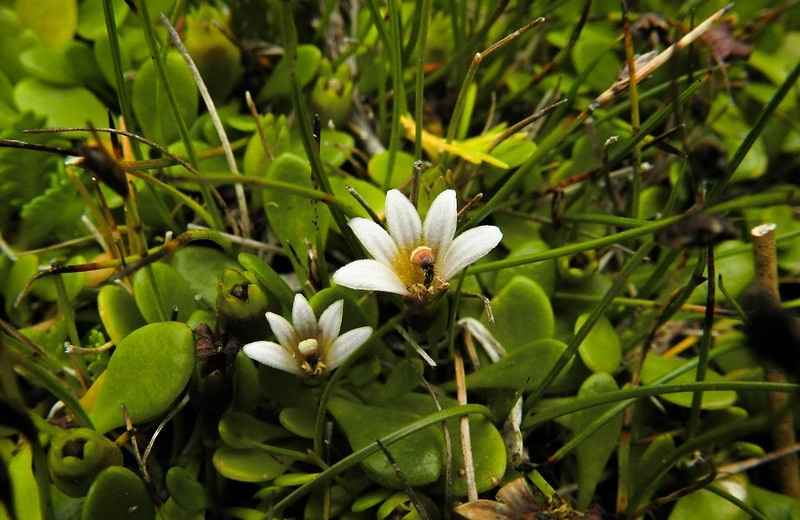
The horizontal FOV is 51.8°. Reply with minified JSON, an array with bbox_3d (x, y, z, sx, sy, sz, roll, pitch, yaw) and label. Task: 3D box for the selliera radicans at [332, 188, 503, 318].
[{"bbox_3d":[0.052,0.025,1.934,0.325,0.182,0.369,10,51,16],"label":"selliera radicans"}]
